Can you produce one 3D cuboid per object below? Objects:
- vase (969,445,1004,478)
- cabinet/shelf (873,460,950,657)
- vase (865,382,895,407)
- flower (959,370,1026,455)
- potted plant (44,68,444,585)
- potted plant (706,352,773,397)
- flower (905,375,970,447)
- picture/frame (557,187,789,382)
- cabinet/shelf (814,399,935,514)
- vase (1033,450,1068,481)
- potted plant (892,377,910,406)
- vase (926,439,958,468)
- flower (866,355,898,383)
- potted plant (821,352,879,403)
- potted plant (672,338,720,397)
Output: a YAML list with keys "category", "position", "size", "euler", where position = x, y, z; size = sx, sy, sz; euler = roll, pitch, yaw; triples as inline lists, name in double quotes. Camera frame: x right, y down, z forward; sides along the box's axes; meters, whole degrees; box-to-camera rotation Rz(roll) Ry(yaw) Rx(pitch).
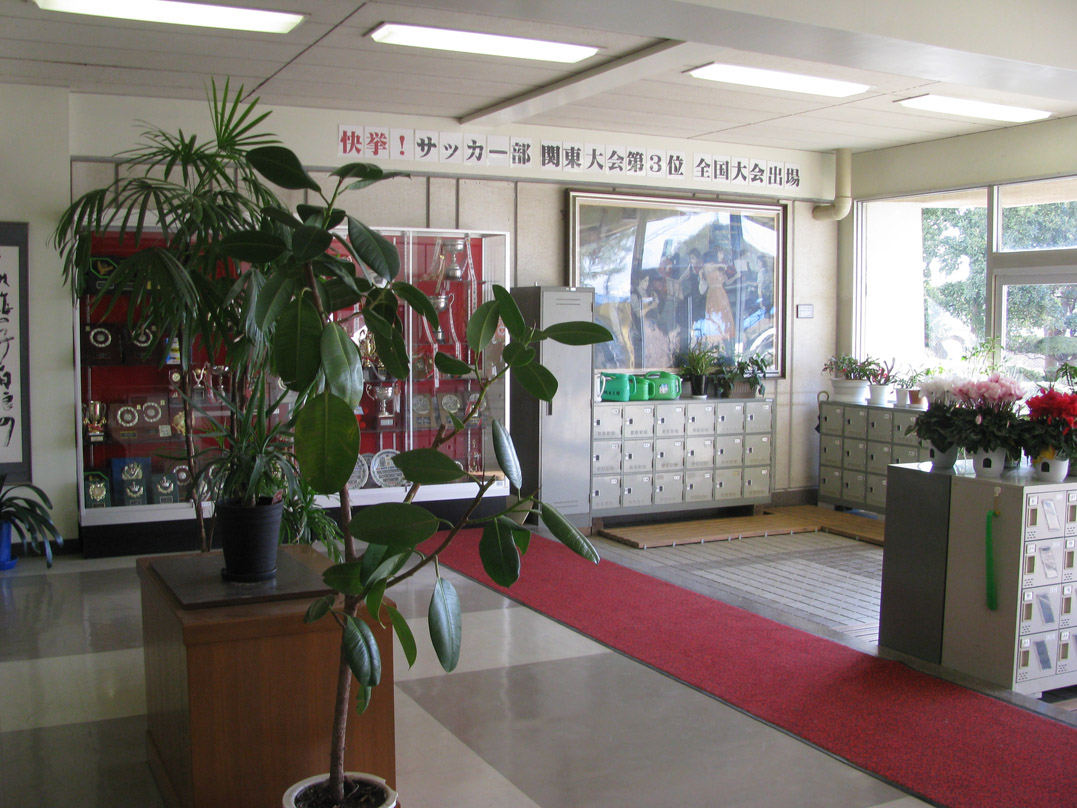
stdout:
- category: "vase"
  position: [2.673, 0.348, 4.505]
  size: [0.158, 0.195, 0.169]
  euler: [0, -7, 4]
- category: "cabinet/shelf"
  position: [2.305, 0.977, 4.642]
  size: [0.392, 1.148, 0.207]
  euler: [4, 5, 40]
- category: "vase"
  position: [3.884, -0.080, 8.590]
  size: [0.255, 0.243, 0.300]
  euler: [0, -2, 0]
- category: "flower"
  position: [2.651, 0.075, 4.626]
  size: [0.424, 0.508, 0.416]
  euler: [0, -2, -11]
- category: "potted plant"
  position: [-1.309, -0.432, 3.219]
  size: [1.313, 1.749, 1.040]
  euler: [-4, 11, -39]
- category: "potted plant"
  position: [2.246, -0.315, 8.613]
  size: [0.597, 0.448, 0.490]
  euler: [1, 0, -21]
- category: "flower"
  position: [2.487, 0.071, 4.758]
  size: [0.335, 0.459, 0.398]
  euler: [0, -1, -1]
- category: "picture/frame"
  position: [1.363, -1.315, 8.144]
  size: [2.227, 1.744, 0.082]
  euler: [-1, 6, -21]
- category: "cabinet/shelf"
  position: [3.292, 0.496, 7.418]
  size: [0.375, 1.117, 1.181]
  euler: [0, 3, -28]
- category: "vase"
  position: [2.958, 0.367, 4.377]
  size: [0.169, 0.196, 0.173]
  euler: [2, -1, -31]
- category: "potted plant"
  position: [3.979, -0.127, 8.332]
  size: [0.259, 0.297, 0.281]
  euler: [0, -4, 7]
- category: "vase"
  position: [2.486, 0.319, 4.704]
  size: [0.148, 0.176, 0.156]
  euler: [0, -3, 10]
- category: "flower"
  position: [3.963, -0.371, 8.780]
  size: [0.306, 0.466, 0.339]
  euler: [-2, 4, -14]
- category: "potted plant"
  position: [3.688, -0.293, 8.944]
  size: [0.632, 0.661, 0.505]
  euler: [0, 0, 10]
- category: "potted plant"
  position: [1.731, -0.352, 8.660]
  size: [0.665, 0.812, 0.539]
  euler: [1, -2, -5]
